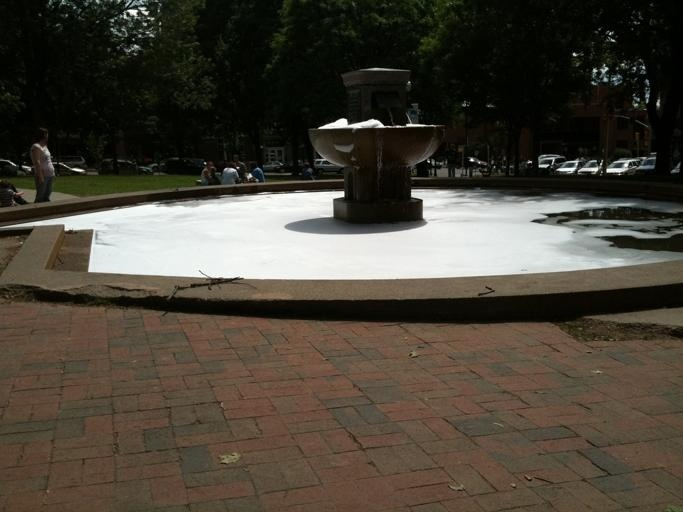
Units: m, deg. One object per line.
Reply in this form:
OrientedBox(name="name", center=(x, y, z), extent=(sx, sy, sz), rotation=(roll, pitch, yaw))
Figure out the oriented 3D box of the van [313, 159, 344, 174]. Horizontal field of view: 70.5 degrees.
OrientedBox(name="van", center=(-1.490, -10.111, 53.832), extent=(2.670, 1.483, 10.152), rotation=(-1, 12, -3))
